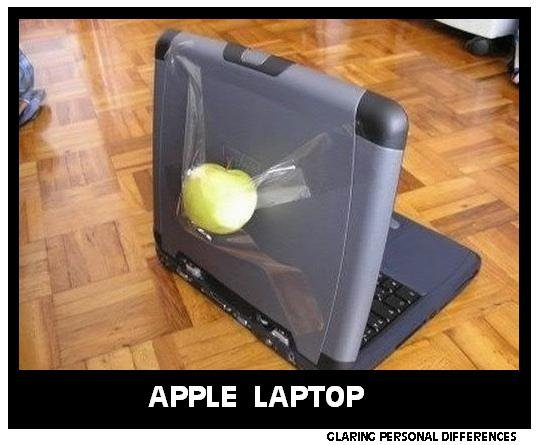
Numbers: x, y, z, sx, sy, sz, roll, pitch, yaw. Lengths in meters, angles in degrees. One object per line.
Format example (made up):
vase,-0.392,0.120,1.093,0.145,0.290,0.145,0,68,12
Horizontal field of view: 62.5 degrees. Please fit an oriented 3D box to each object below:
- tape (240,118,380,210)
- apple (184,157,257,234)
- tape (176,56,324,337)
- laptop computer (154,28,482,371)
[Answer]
tape,0.031,-0.048,0.393,0.130,0.126,0.029,20,58,13
apple,-0.054,-0.022,0.486,0.073,0.073,0.073,-7,43,-5
tape,-0.017,-0.030,0.441,0.157,0.165,0.225,-23,44,-28
laptop computer,0.058,-0.029,0.608,0.342,0.376,0.385,-30,48,-33
